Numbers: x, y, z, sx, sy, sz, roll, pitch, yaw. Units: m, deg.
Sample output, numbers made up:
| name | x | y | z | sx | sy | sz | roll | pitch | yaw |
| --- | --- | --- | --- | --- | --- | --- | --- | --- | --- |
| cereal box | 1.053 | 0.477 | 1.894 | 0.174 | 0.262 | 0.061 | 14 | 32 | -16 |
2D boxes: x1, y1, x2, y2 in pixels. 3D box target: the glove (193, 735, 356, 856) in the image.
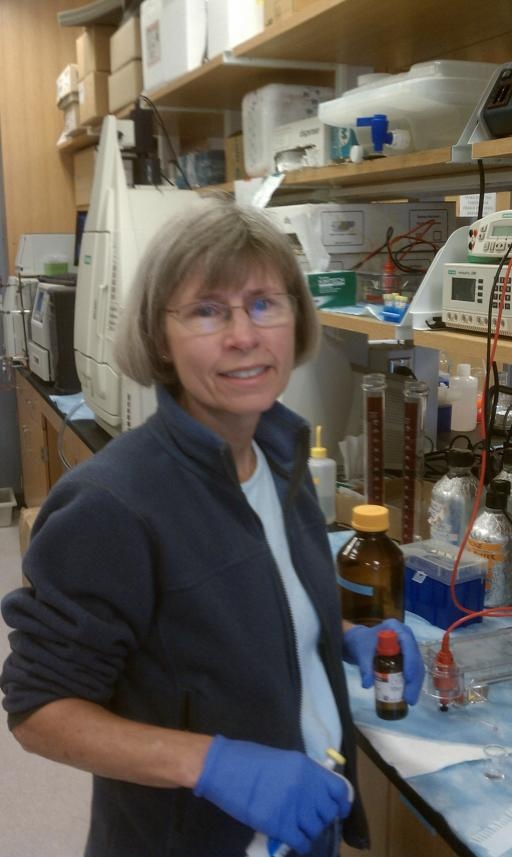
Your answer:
| name | x | y | z | sx | sy | sz | roll | pitch | yaw |
| --- | --- | --- | --- | --- | --- | --- | --- | --- | --- |
| glove | 0.013 | 0.340 | 0.602 | 0.042 | 0.104 | 0.157 | -7 | -19 | 45 |
